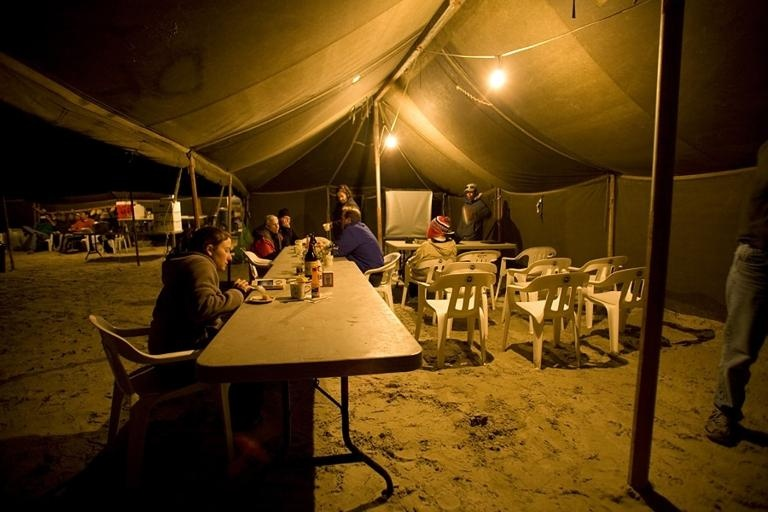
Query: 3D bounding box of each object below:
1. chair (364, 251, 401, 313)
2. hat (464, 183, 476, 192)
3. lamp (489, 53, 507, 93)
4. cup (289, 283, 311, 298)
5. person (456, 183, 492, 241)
[{"bbox_3d":[0.077,0.270,6.738,0.640,0.852,0.774,0,9,-7],"label":"chair"},{"bbox_3d":[1.613,-1.244,9.496,0.279,0.174,0.392,-1,6,8],"label":"hat"},{"bbox_3d":[1.471,-2.395,6.618,0.254,0.569,0.295,5,-33,4],"label":"lamp"},{"bbox_3d":[-0.725,0.303,4.433,0.169,0.115,0.108,0,1,-18],"label":"cup"},{"bbox_3d":[1.911,-0.944,10.799,0.613,1.190,3.064,2,3,10],"label":"person"}]
